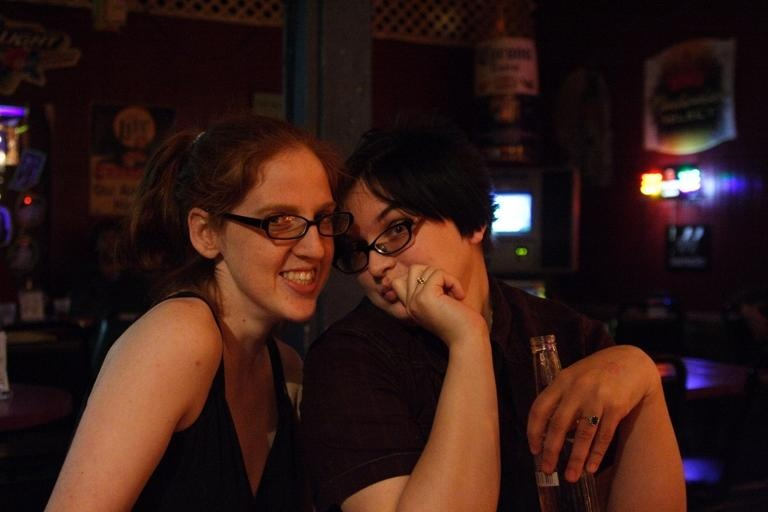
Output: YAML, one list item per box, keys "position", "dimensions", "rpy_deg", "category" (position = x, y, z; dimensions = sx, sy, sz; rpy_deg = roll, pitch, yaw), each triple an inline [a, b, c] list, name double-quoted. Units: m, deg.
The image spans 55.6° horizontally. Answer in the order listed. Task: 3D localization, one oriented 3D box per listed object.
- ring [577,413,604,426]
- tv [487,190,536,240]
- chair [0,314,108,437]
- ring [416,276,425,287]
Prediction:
- position: [0.717, 0.558, 2.515]
  dimensions: [0.048, 0.030, 0.054]
  rpy_deg: [9, -12, -34]
  category: "ring"
- position: [0.939, -0.322, 5.317]
  dimensions: [0.322, 0.330, 0.180]
  rpy_deg: [2, 8, 20]
  category: "tv"
- position: [-1.612, 0.547, 3.554]
  dimensions: [0.438, 0.556, 0.424]
  rpy_deg: [5, -13, -27]
  category: "chair"
- position: [0.132, 0.088, 2.609]
  dimensions: [0.030, 0.023, 0.010]
  rpy_deg: [-9, -11, 6]
  category: "ring"
